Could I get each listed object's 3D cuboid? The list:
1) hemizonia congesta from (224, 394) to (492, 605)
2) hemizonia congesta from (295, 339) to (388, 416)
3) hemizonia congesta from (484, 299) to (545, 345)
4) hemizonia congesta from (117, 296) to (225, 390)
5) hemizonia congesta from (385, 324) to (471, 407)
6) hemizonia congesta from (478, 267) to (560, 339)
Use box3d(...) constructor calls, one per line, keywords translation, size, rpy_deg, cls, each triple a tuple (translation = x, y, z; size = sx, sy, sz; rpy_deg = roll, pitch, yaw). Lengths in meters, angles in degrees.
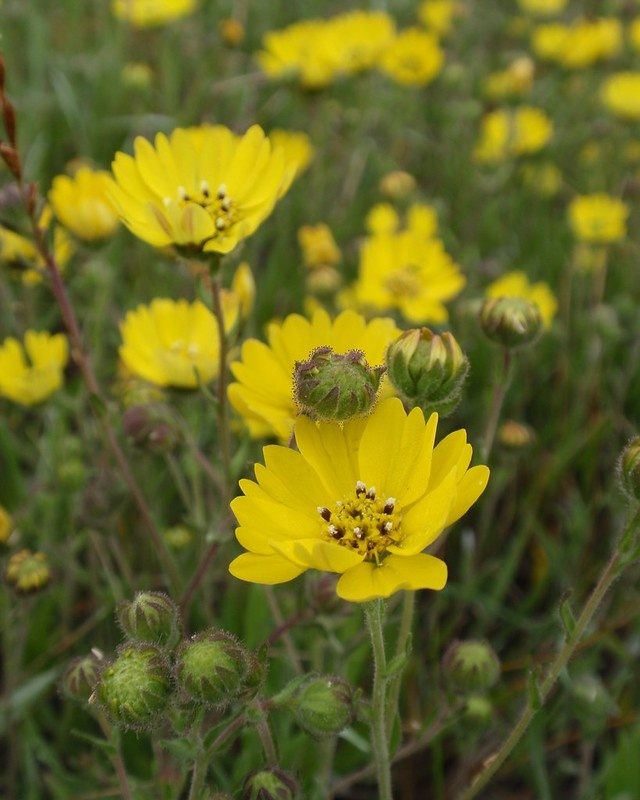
box3d(translation=(0.053, 0.136, 1.311), size=(0.311, 0.197, 0.302), rpy_deg=(13, 51, 13), cls="hemizonia congesta")
box3d(translation=(0.022, -0.024, 1.367), size=(0.121, 0.082, 0.142), rpy_deg=(10, 16, 3), cls="hemizonia congesta")
box3d(translation=(0.346, -0.134, 1.782), size=(0.119, 0.084, 0.128), rpy_deg=(-2, 4, -5), cls="hemizonia congesta")
box3d(translation=(-0.246, -0.100, 1.694), size=(0.171, 0.083, 0.165), rpy_deg=(33, 52, 4), cls="hemizonia congesta")
box3d(translation=(0.143, -0.039, 1.483), size=(0.135, 0.131, 0.113), rpy_deg=(-1, 5, 7), cls="hemizonia congesta")
box3d(translation=(0.545, -0.278, 2.579), size=(0.174, 0.177, 0.028), rpy_deg=(9, 64, 33), cls="hemizonia congesta")
